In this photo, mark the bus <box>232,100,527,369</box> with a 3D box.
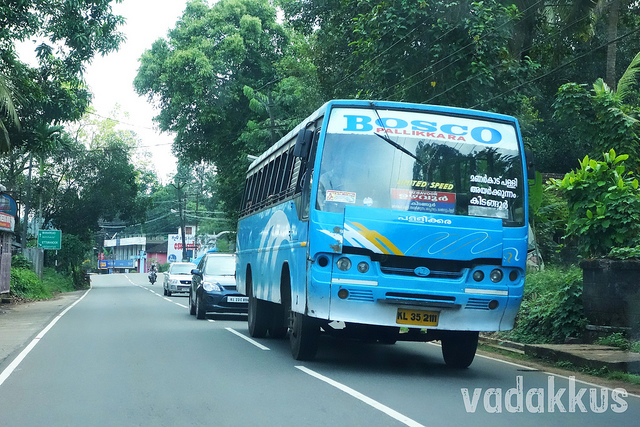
[{"bbox_3d":[1.018,0.486,12.401,6.030,5.157,3.318,-1,-6,21],"label":"bus"}]

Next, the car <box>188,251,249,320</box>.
[{"bbox_3d":[-3.540,2.527,20.993,1.428,1.384,2.852,4,-11,-17],"label":"car"}]

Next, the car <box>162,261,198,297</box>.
[{"bbox_3d":[-8.101,3.596,35.727,2.225,1.878,4.684,2,-9,-16],"label":"car"}]
